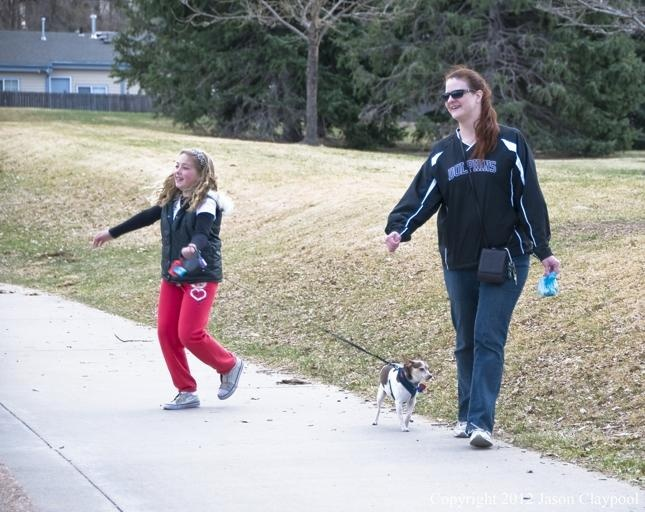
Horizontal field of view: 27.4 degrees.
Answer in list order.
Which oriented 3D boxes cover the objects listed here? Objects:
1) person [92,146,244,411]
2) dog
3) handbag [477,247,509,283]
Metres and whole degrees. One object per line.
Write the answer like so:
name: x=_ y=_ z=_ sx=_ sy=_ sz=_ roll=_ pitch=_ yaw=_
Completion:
person: x=-2.129 y=0.352 z=20.151 sx=1.607 sy=3.917 sz=0.886 roll=4 pitch=7 yaw=25
dog: x=1.211 y=2.089 z=19.906 sx=0.493 sy=1.069 sz=1.543 roll=1 pitch=-1 yaw=-26
handbag: x=2.462 y=0.135 z=18.924 sx=0.468 sy=0.590 sz=0.310 roll=3 pitch=-4 yaw=21
